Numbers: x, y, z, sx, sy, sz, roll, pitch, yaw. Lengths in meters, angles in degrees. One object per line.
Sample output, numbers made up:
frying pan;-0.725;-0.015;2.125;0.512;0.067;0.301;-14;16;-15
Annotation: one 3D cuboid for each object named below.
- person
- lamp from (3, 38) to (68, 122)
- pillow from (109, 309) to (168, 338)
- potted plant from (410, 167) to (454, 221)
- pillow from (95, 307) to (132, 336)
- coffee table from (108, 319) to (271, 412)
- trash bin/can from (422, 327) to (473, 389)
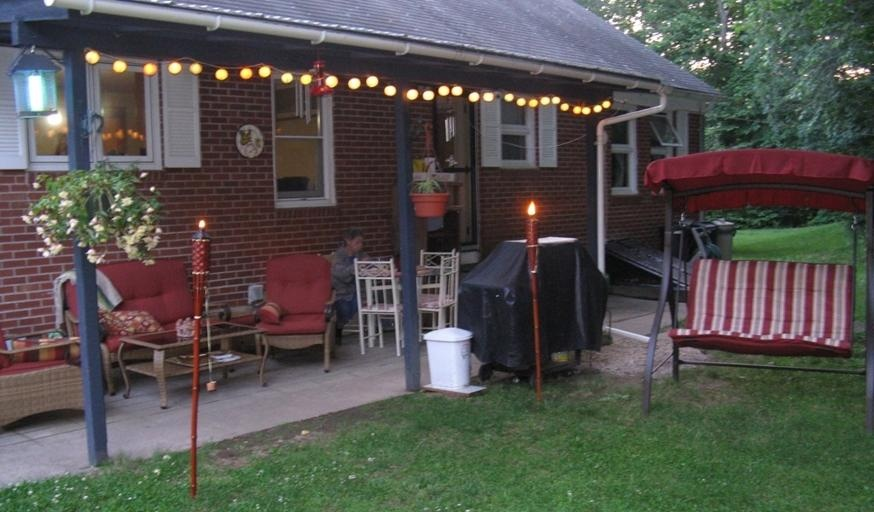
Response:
person;-1.307;0.442;11.644;0.826;1.682;0.970;-13;16;-43
lamp;-4.165;-1.828;7.565;0.440;0.704;0.492;-6;7;-25
pillow;-4.007;0.892;9.593;0.466;0.123;0.381;-1;22;-33
potted plant;-0.143;-0.885;10.390;0.787;0.801;0.723;0;-2;-6
pillow;-4.192;0.872;9.509;0.463;0.404;0.144;1;-33;-26
coffee table;-3.135;1.390;9.540;1.001;0.681;1.703;3;5;41
trash bin/can;0.110;1.295;9.286;0.674;0.779;0.483;2;0;-10
